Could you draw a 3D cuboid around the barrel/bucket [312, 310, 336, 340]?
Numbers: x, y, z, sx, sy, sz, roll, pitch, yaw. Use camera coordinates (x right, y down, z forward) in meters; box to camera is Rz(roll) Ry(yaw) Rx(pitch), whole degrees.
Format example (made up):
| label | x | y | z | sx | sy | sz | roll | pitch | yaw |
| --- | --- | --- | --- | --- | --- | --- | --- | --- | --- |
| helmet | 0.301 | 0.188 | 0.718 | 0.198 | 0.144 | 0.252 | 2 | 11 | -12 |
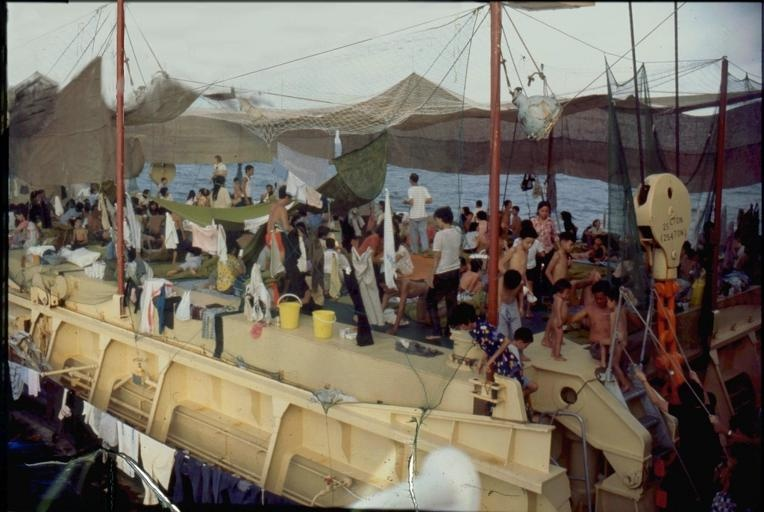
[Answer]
| label | x | y | z | sx | sy | sz | roll | pitch | yaw |
| --- | --- | --- | --- | --- | --- | --- | --- | --- | --- |
| barrel/bucket | -0.599 | 0.691 | 7.754 | 0.251 | 0.237 | 0.250 | 3 | 4 | 0 |
